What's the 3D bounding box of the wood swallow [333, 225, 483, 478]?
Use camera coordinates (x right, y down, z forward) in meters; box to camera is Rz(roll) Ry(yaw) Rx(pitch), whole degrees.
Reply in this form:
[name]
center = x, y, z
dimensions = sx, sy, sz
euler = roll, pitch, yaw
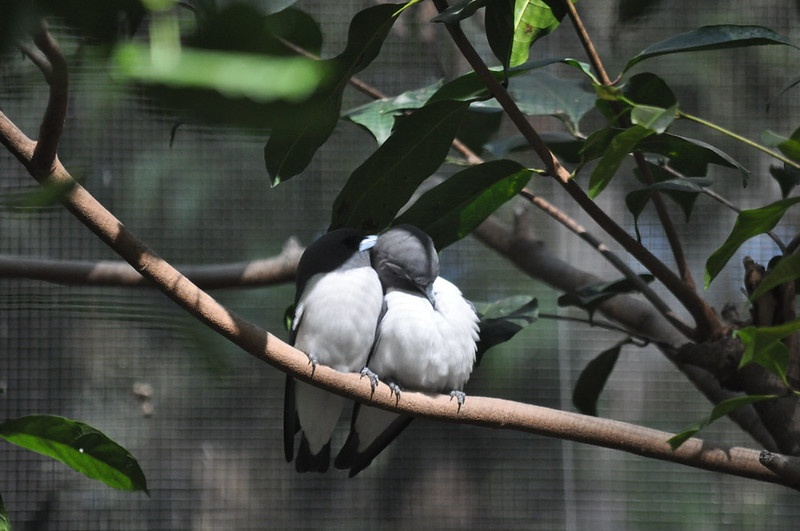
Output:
[wood swallow]
center = 0.009, 0.113, 2.721
dimensions = 0.212, 0.352, 0.353
euler = -5, 88, -23
